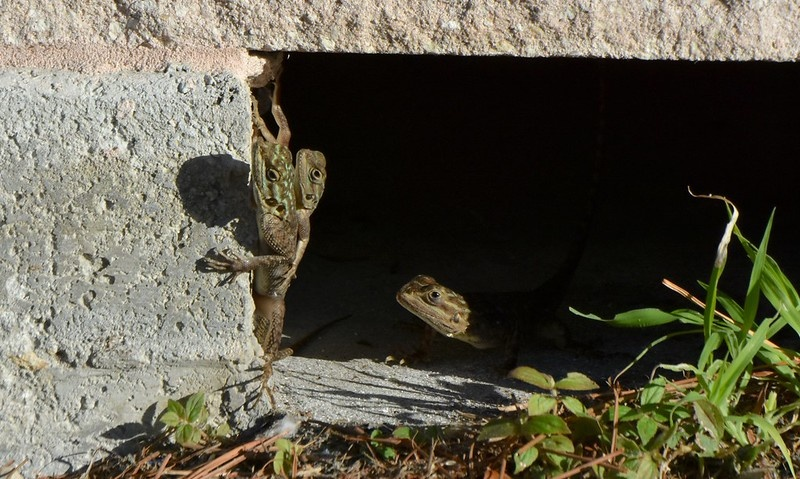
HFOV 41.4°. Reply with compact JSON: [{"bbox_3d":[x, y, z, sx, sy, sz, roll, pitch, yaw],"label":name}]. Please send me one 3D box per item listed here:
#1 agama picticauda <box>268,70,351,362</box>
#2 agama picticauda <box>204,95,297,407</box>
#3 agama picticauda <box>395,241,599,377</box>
[{"bbox_3d":[-0.540,-0.091,5.963,0.300,1.354,0.756,-2,11,-7],"label":"agama picticauda"},{"bbox_3d":[-0.693,-0.068,5.657,0.294,1.336,0.850,-2,14,-1],"label":"agama picticauda"},{"bbox_3d":[0.583,0.451,6.562,1.002,0.409,0.542,-10,10,-41],"label":"agama picticauda"}]
